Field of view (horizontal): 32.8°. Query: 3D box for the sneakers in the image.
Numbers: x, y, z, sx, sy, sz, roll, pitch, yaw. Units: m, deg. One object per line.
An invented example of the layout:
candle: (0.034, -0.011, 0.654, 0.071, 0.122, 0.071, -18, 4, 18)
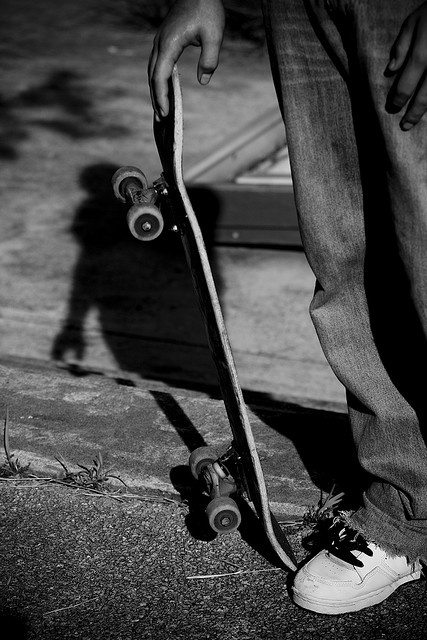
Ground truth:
sneakers: (0.380, 0.621, 1.863, 0.356, 0.136, 0.141, -8, 19, -15)

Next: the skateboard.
skateboard: (-0.018, 0.013, 1.905, 0.259, 1.420, 0.388, -12, 11, 1)
